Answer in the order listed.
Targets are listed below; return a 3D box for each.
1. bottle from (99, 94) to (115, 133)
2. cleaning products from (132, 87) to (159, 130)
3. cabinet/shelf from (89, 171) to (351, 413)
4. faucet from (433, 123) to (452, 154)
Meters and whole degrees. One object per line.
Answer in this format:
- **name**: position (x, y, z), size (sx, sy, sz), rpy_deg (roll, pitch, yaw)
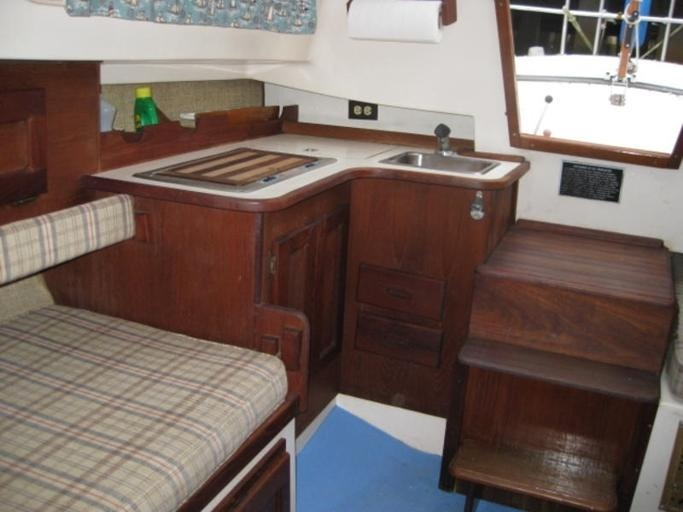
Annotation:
- **bottle**: position (-0.954, -0.582, 2.173), size (0.061, 0.129, 0.233), rpy_deg (-7, 24, -19)
- **cleaning products**: position (-0.887, -0.660, 2.415), size (0.105, 0.183, 0.109), rpy_deg (2, 13, 16)
- **cabinet/shelf**: position (-0.376, 0.035, 2.385), size (0.666, 0.930, 0.967), rpy_deg (11, 21, 19)
- **faucet**: position (0.529, -0.615, 2.754), size (0.090, 0.155, 0.207), rpy_deg (5, 23, 10)
